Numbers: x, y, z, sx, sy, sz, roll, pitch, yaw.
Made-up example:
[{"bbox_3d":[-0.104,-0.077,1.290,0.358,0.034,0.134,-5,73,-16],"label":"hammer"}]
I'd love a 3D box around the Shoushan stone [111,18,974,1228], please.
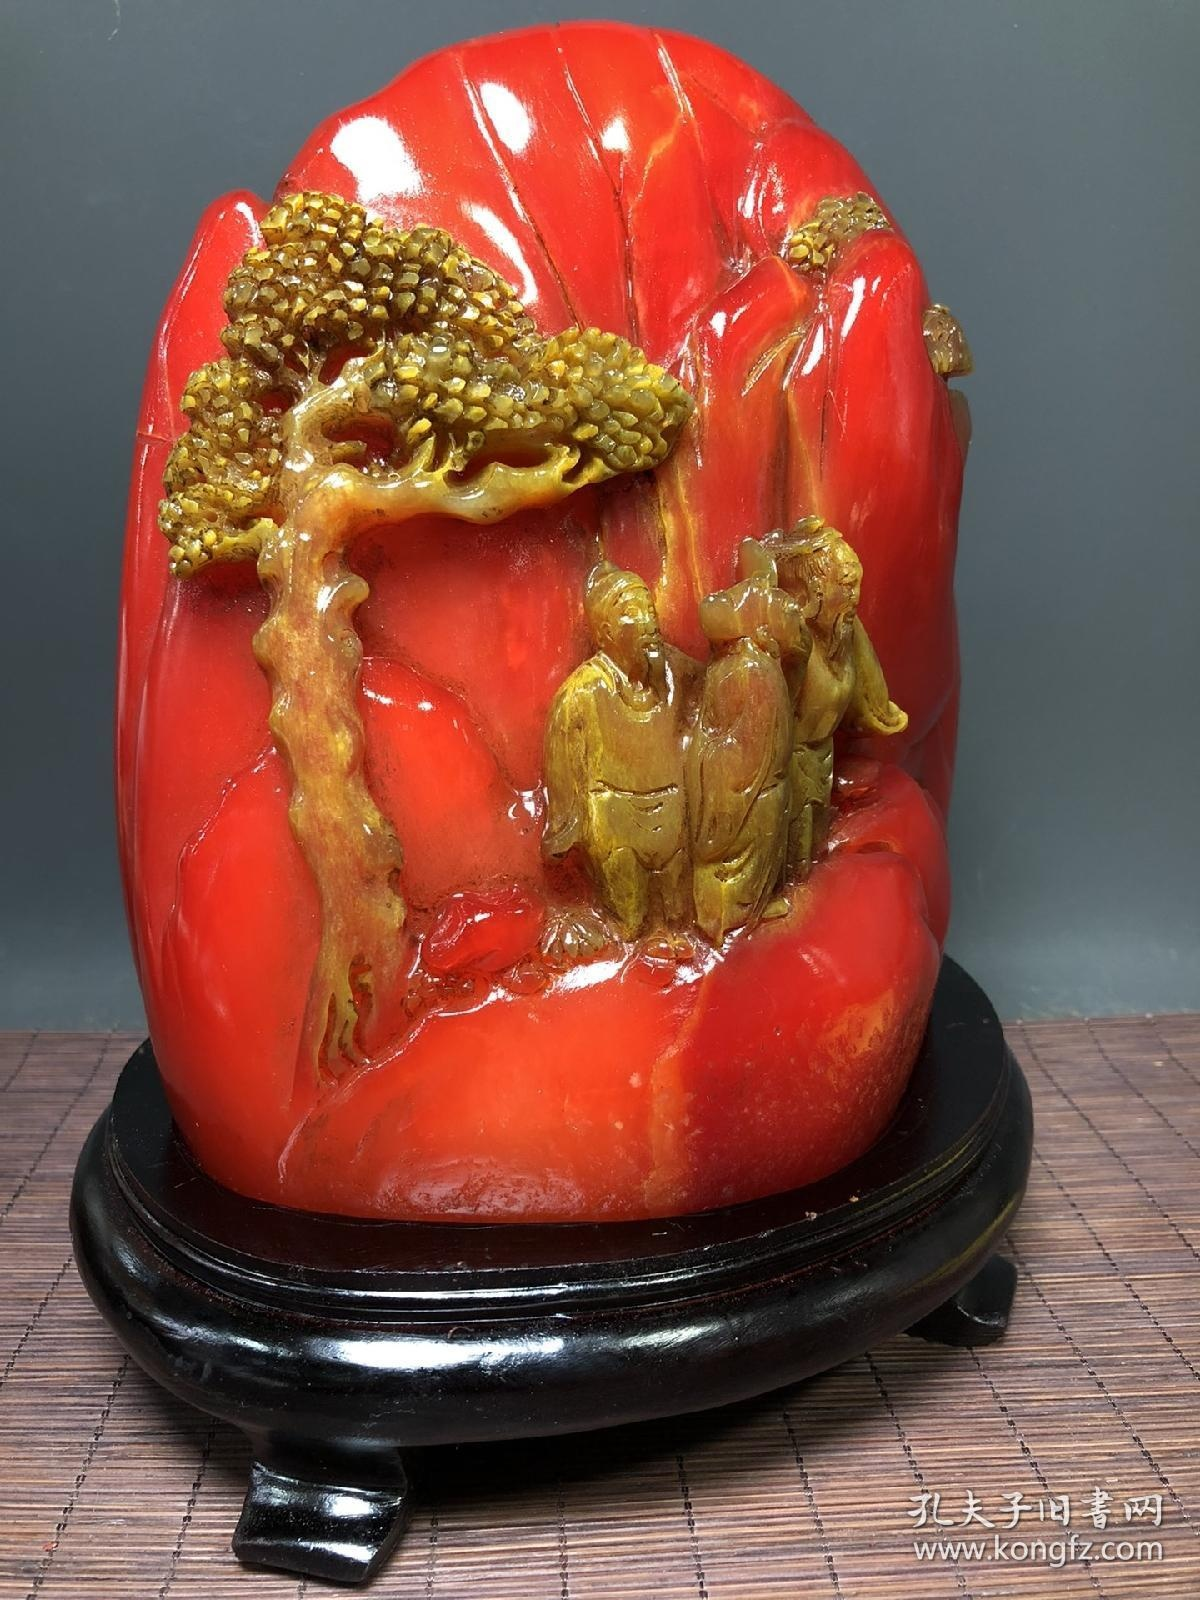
[{"bbox_3d":[-0.017,-0.178,1.661,0.714,0.975,0.398,-2,10,-17],"label":"Shoushan stone"}]
